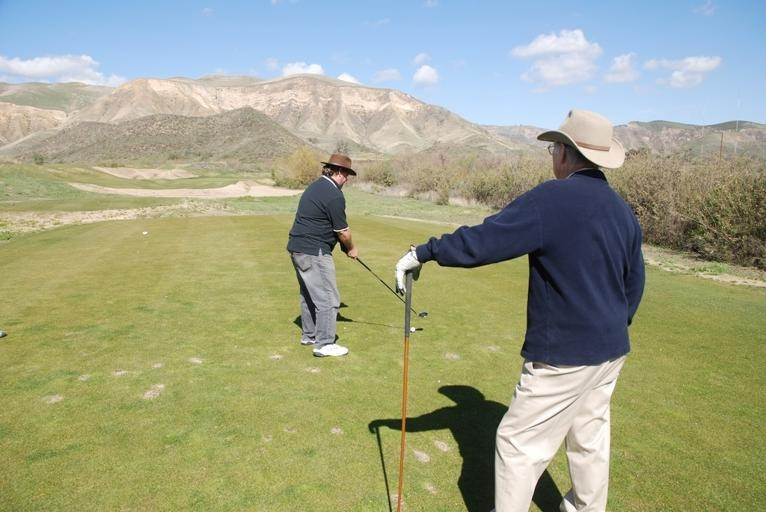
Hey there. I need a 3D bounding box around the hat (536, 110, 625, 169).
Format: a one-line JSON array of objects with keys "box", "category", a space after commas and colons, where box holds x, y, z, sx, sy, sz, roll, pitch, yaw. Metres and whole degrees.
[{"box": [1.790, -1.085, 4.096, 0.710, 0.352, 0.793, -11, 32, -30], "category": "hat"}]

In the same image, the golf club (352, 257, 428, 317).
[{"box": [0.114, 0.600, 8.173, 1.679, 0.269, 0.336, 32, -23, 1], "category": "golf club"}]

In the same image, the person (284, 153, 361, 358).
[{"box": [-0.872, -0.072, 6.710, 0.964, 2.853, 1.127, 0, 12, -10], "category": "person"}]

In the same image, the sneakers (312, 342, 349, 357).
[{"box": [-0.727, 1.302, 6.493, 0.522, 0.202, 0.175, -1, 0, -14], "category": "sneakers"}]
